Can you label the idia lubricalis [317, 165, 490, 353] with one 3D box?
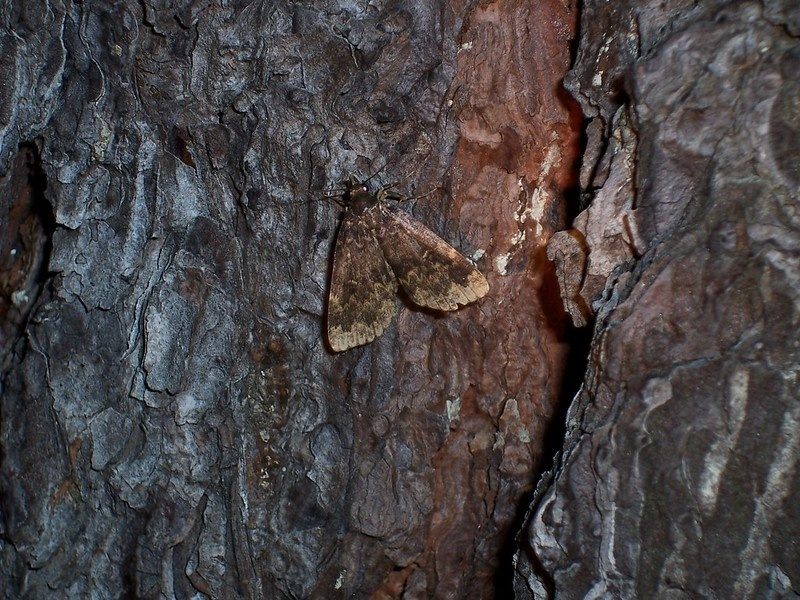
[{"bbox_3d":[-0.018,-0.091,3.474,0.368,0.546,0.781,-7,18,-14],"label":"idia lubricalis"}]
